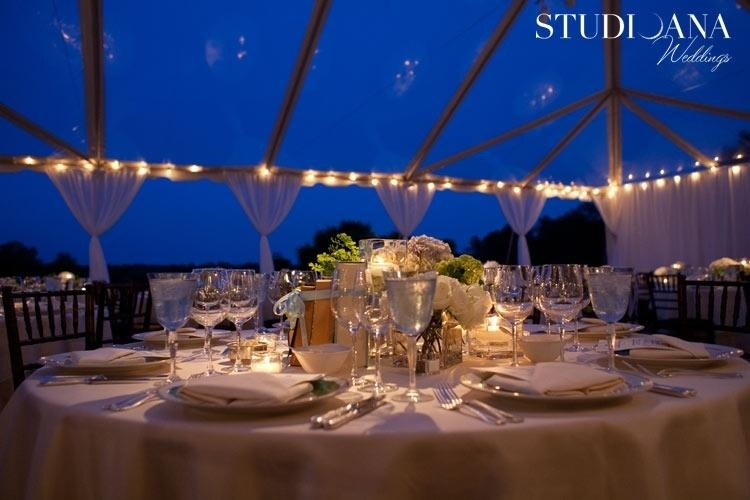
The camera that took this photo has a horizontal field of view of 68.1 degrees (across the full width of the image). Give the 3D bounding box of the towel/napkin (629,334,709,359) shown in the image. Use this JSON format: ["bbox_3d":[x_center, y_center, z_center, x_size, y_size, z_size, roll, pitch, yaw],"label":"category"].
[{"bbox_3d":[1.276,0.426,2.435,0.262,0.077,0.294,-2,-6,15],"label":"towel/napkin"}]

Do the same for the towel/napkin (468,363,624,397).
[{"bbox_3d":[0.663,0.512,2.190,0.598,0.068,0.646,4,-11,-30],"label":"towel/napkin"}]
